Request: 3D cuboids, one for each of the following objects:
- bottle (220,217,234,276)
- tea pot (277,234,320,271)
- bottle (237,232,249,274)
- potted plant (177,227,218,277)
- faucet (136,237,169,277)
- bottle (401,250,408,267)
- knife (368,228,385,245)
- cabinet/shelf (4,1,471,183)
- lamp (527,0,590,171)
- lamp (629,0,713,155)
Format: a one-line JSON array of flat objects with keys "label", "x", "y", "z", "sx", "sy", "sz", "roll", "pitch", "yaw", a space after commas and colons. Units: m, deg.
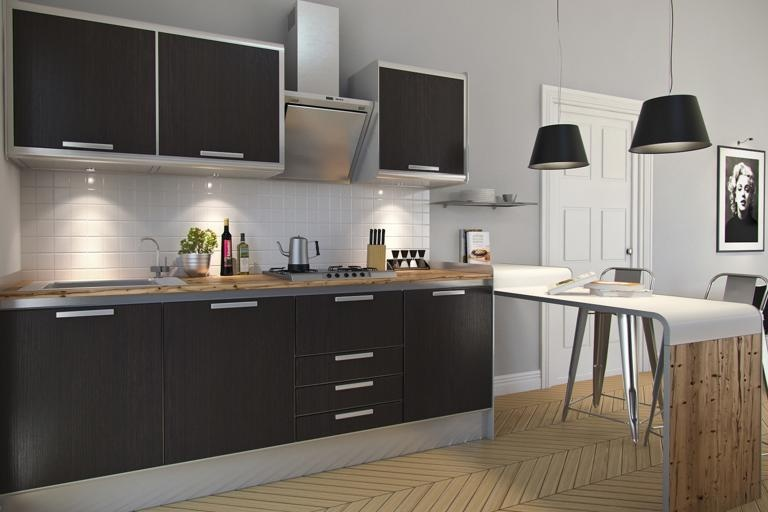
[{"label": "bottle", "x": -1.217, "y": -0.071, "z": 4.389, "sx": 0.096, "sy": 0.427, "sz": 0.181, "roll": -4, "pitch": 13, "yaw": -16}, {"label": "tea pot", "x": -0.651, "y": -0.024, "z": 4.398, "sx": 0.306, "sy": 0.268, "sz": 0.171, "roll": -3, "pitch": 1, "yaw": -17}, {"label": "bottle", "x": -1.101, "y": -0.016, "z": 4.472, "sx": 0.108, "sy": 0.306, "sz": 0.204, "roll": -3, "pitch": 13, "yaw": -13}, {"label": "potted plant", "x": -1.419, "y": 0.028, "z": 4.334, "sx": 0.246, "sy": 0.300, "sz": 0.230, "roll": 10, "pitch": 19, "yaw": 35}, {"label": "faucet", "x": -1.697, "y": 0.001, "z": 4.274, "sx": 0.171, "sy": 0.274, "sz": 0.208, "roll": -9, "pitch": 15, "yaw": -37}, {"label": "bottle", "x": 0.183, "y": 0.022, "z": 4.834, "sx": 0.055, "sy": 0.122, "sz": 0.122, "roll": 0, "pitch": 12, "yaw": 0}, {"label": "knife", "x": -0.050, "y": -0.157, "z": 4.743, "sx": 0.144, "sy": 0.150, "sz": 0.020, "roll": 0, "pitch": 4, "yaw": -7}, {"label": "cabinet/shelf", "x": -1.038, "y": -1.125, "z": 4.219, "sx": 3.029, "sy": 1.207, "sz": 0.373, "roll": -4, "pitch": 13, "yaw": -18}, {"label": "lamp", "x": 1.588, "y": -1.556, "z": 5.023, "sx": 0.425, "sy": 1.653, "sz": 1.781, "roll": 3, "pitch": 13, "yaw": 16}, {"label": "lamp", "x": 2.349, "y": -1.333, "z": 4.594, "sx": 0.499, "sy": 1.048, "sz": 2.029, "roll": 6, "pitch": 13, "yaw": 25}]
